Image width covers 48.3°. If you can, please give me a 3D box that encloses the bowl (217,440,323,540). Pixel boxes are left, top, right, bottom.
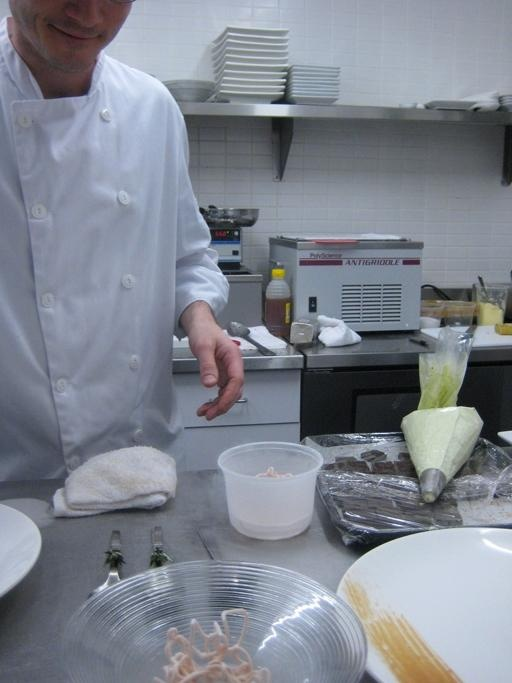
[{"bbox_3d":[0.021,0.201,0.786,0.141,0.096,0.147,-1,10,0],"label":"bowl"}]

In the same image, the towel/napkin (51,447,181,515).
[{"bbox_3d":[-0.202,0.198,0.818,0.116,0.035,0.095,0,8,-11],"label":"towel/napkin"}]

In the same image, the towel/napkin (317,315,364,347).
[{"bbox_3d":[0.286,-0.050,2.088,0.118,0.042,0.130,-3,17,-14],"label":"towel/napkin"}]

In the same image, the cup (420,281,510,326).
[{"bbox_3d":[1.021,-0.192,2.674,0.292,0.171,0.451,-9,13,-37],"label":"cup"}]

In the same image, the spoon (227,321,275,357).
[{"bbox_3d":[-0.016,-0.029,2.046,0.078,0.027,0.251,-15,29,-26],"label":"spoon"}]

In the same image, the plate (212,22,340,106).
[{"bbox_3d":[0.061,-1.055,2.276,0.422,0.190,0.333,-1,15,-8],"label":"plate"}]

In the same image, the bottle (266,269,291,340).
[{"bbox_3d":[0.093,-0.146,2.216,0.098,0.277,0.155,-3,11,-5],"label":"bottle"}]
